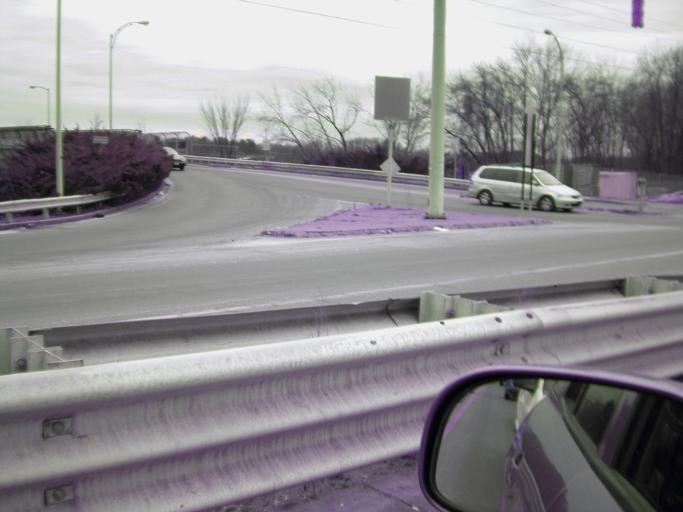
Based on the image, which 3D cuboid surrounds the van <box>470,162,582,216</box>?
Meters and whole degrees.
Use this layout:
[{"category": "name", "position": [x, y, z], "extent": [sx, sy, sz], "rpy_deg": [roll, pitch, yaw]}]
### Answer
[{"category": "van", "position": [7.583, -2.821, 27.900], "extent": [2.336, 1.789, 4.412], "rpy_deg": [-4, 12, -23]}]
